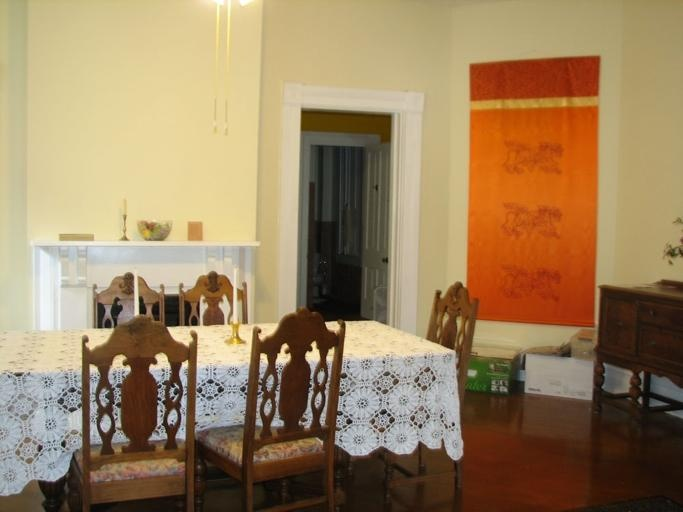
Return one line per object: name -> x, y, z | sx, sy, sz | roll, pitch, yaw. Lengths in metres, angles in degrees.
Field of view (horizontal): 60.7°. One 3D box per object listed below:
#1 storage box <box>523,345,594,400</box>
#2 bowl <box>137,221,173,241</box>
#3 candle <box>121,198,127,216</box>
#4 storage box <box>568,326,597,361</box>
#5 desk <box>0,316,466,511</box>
storage box -> 2.039, 1.136, 5.479 | 0.656, 0.413, 0.367 | 2, 3, 18
bowl -> -1.642, -0.195, 5.160 | 0.198, 0.120, 0.201 | -3, -1, 0
candle -> -1.930, -0.429, 5.196 | 0.048, 0.136, 0.045 | -2, 8, -22
storage box -> 2.290, 0.789, 5.506 | 0.197, 0.183, 0.374 | 0, 3, 19
desk -> -0.500, 0.767, 3.465 | 1.960, 0.469, 1.144 | -2, 11, -19
